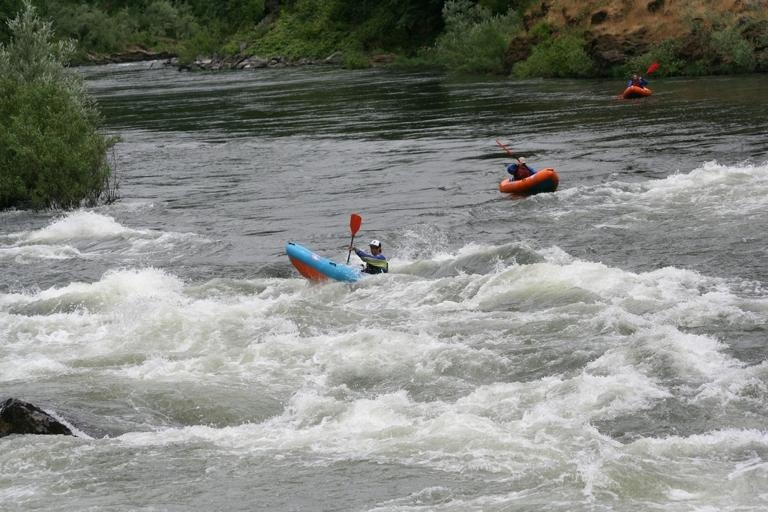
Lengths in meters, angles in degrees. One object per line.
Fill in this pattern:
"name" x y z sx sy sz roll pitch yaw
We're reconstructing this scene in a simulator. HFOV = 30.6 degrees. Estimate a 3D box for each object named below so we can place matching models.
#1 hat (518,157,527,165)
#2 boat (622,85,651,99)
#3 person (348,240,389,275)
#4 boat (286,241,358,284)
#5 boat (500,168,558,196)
"hat" 4.402 -2.995 44.435 0.282 0.138 0.330 2 -3 -3
"boat" 10.446 -6.690 57.750 1.038 0.409 1.717 1 9 13
"person" -0.432 0.088 39.246 1.067 1.200 0.627 13 -28 -20
"boat" -1.788 0.277 38.694 1.903 0.511 0.918 16 -2 25
"boat" 4.523 -2.214 43.820 0.950 0.406 1.530 2 -8 -38
